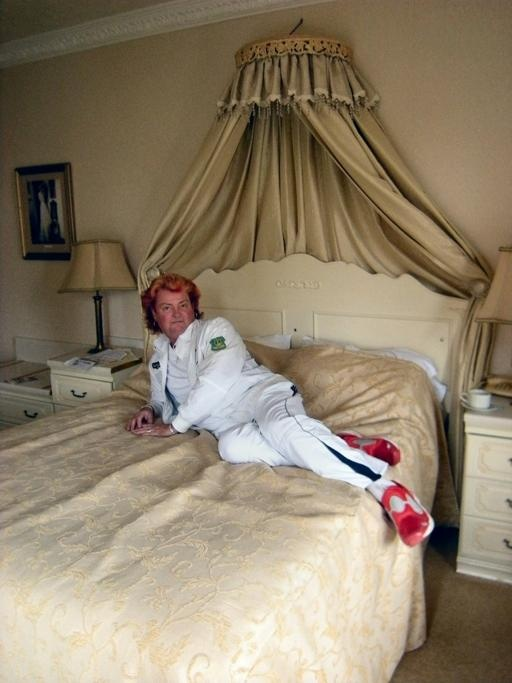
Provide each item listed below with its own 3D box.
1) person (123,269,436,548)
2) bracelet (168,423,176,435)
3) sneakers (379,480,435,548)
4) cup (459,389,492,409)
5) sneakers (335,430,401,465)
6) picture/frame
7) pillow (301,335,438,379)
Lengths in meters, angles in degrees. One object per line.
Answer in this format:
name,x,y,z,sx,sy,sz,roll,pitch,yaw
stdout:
person,-0.022,0.242,2.023,1.396,0.657,0.605,20,40,40
bracelet,-0.332,0.355,2.166,0.037,0.032,0.035,4,1,-2
sneakers,0.420,0.481,1.551,0.116,0.196,0.065,-26,-29,-13
cup,0.860,0.224,2.112,0.079,0.059,0.104,-2,0,-42
sneakers,0.396,0.359,1.830,0.120,0.038,0.144,18,-2,-33
picture/frame,-1.523,-0.917,3.883,0.528,0.680,0.096,3,12,29
pillow,0.570,0.048,2.521,0.413,0.092,0.250,8,17,20
